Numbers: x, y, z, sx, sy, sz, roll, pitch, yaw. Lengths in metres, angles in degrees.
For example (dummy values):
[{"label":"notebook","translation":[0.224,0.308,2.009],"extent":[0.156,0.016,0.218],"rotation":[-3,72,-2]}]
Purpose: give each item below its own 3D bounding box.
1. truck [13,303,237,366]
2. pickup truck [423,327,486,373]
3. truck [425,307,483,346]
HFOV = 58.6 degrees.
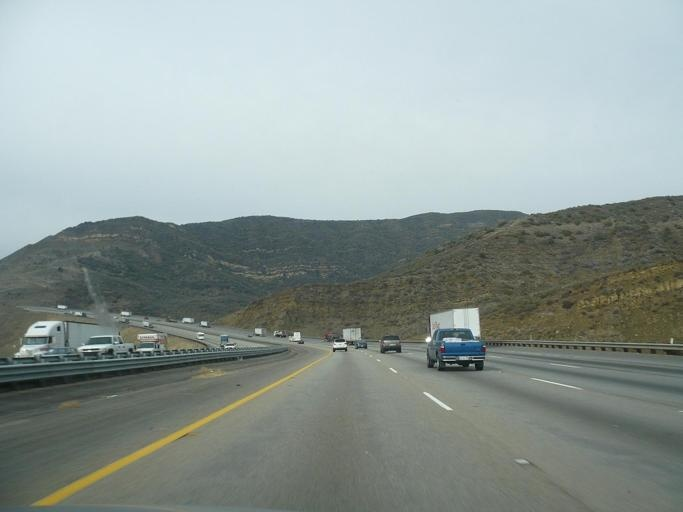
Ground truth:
[{"label":"truck","translation":[-24.866,8.314,69.249],"extent":[4.652,5.294,22.439],"rotation":[-10,-14,38]},{"label":"pickup truck","translation":[4.652,3.802,25.535],"extent":[1.449,1.066,2.632],"rotation":[0,-5,-3]},{"label":"truck","translation":[9.321,5.323,47.376],"extent":[3.332,3.519,6.314],"rotation":[2,-5,-10]}]
